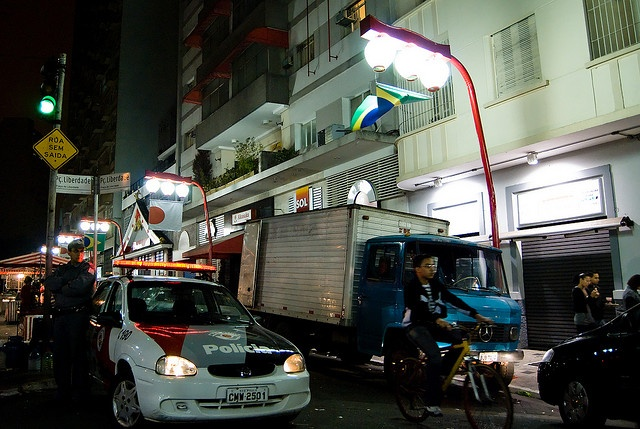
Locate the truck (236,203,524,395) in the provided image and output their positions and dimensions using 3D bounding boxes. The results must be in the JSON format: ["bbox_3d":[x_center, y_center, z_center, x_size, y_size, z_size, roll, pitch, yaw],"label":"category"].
[{"bbox_3d":[1.227,1.942,12.569,3.646,3.952,7.230,8,-12,-35],"label":"truck"}]

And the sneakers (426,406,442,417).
[{"bbox_3d":[1.851,3.173,7.753,0.250,0.169,0.177,0,-5,12],"label":"sneakers"}]

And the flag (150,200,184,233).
[{"bbox_3d":[-7.838,0.027,23.986,1.993,1.955,0.170,2,-4,-26],"label":"flag"}]

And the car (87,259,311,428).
[{"bbox_3d":[-2.176,2.220,7.988,3.727,2.260,2.078,-2,-5,31],"label":"car"}]

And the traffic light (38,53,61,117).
[{"bbox_3d":[-7.200,-3.425,12.623,0.471,1.758,0.484,4,-5,-30],"label":"traffic light"}]
